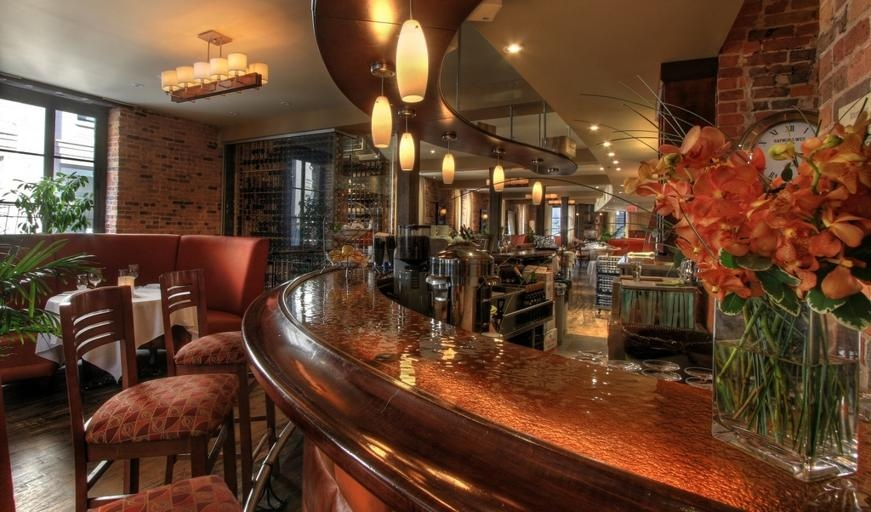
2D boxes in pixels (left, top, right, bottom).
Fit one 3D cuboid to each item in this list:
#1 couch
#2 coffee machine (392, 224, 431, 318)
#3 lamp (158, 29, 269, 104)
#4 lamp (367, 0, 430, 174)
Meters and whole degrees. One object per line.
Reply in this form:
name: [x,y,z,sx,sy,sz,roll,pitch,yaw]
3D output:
couch: [-2.736,0.703,5.441,2.834,1.180,1.367,-1,-2,-13]
coffee machine: [-0.161,0.093,3.589,0.265,0.602,0.429,-2,4,-4]
lamp: [-2.652,-2.242,6.280,1.255,0.526,0.546,-1,-1,18]
lamp: [-0.350,-1.630,5.059,0.406,2.316,0.986,-3,11,-9]
